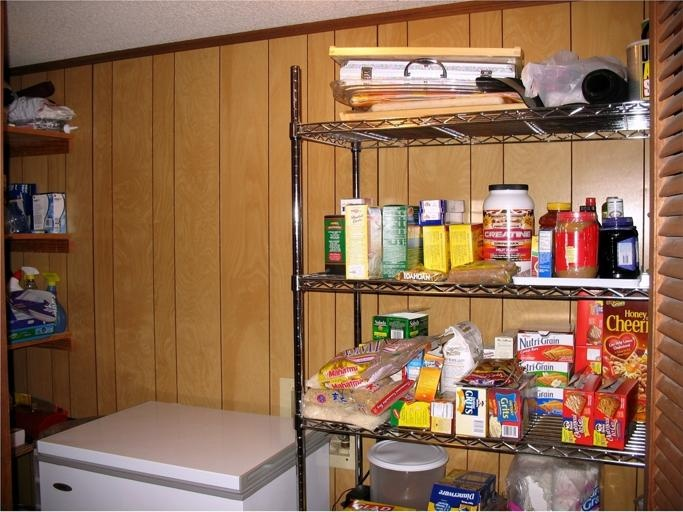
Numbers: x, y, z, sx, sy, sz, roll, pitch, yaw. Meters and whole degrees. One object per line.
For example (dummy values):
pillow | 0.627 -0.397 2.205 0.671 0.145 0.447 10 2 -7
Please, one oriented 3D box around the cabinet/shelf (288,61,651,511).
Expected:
cabinet/shelf | 0.335 0.162 2.257 1.383 1.714 0.821 -1 5 21

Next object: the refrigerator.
refrigerator | -0.613 0.805 2.339 0.991 0.285 0.537 -1 6 19

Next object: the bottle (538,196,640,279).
bottle | 0.735 -0.034 1.849 0.328 0.301 0.182 0 -1 24

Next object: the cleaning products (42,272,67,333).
cleaning products | -1.512 0.241 3.167 0.085 0.348 0.539 -4 5 -25

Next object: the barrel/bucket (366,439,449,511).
barrel/bucket | 0.216 0.758 2.226 0.278 0.291 0.283 1 4 0

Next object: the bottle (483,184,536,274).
bottle | 0.555 -0.096 1.988 0.161 0.291 0.162 -1 6 0

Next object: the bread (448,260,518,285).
bread | 0.443 0.054 1.884 0.208 0.066 0.064 -2 5 10
